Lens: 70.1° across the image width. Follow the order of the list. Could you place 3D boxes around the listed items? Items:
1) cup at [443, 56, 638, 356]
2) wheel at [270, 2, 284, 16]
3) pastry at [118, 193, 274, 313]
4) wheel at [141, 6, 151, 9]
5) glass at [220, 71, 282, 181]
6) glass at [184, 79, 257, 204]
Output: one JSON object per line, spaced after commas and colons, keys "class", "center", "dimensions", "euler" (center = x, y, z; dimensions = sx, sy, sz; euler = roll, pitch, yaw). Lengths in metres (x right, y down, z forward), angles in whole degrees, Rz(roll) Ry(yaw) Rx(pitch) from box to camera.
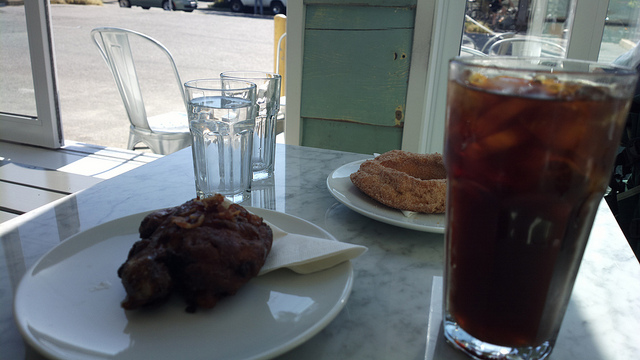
{"class": "cup", "center": [0.316, 0.057, 0.743], "dimensions": [0.278, 0.461, 0.195], "euler": [8, 27, 11]}
{"class": "wheel", "center": [-0.946, -3.729, 9.922], "dimensions": [0.179, 0.250, 0.445], "euler": [-13, 28, -29]}
{"class": "pastry", "center": [-0.206, 0.111, 0.913], "dimensions": [0.366, 0.123, 0.285], "euler": [-16, 25, -16]}
{"class": "wheel", "center": [-3.995, -3.926, 10.394], "dimensions": [0.175, 0.055, 0.076], "euler": [8, 25, 12]}
{"class": "glass", "center": [-0.144, -0.157, 1.271], "dimensions": [0.155, 0.274, 0.192], "euler": [10, 20, 21]}
{"class": "glass", "center": [-0.227, -0.104, 1.153], "dimensions": [0.165, 0.276, 0.213], "euler": [10, 20, 18]}
